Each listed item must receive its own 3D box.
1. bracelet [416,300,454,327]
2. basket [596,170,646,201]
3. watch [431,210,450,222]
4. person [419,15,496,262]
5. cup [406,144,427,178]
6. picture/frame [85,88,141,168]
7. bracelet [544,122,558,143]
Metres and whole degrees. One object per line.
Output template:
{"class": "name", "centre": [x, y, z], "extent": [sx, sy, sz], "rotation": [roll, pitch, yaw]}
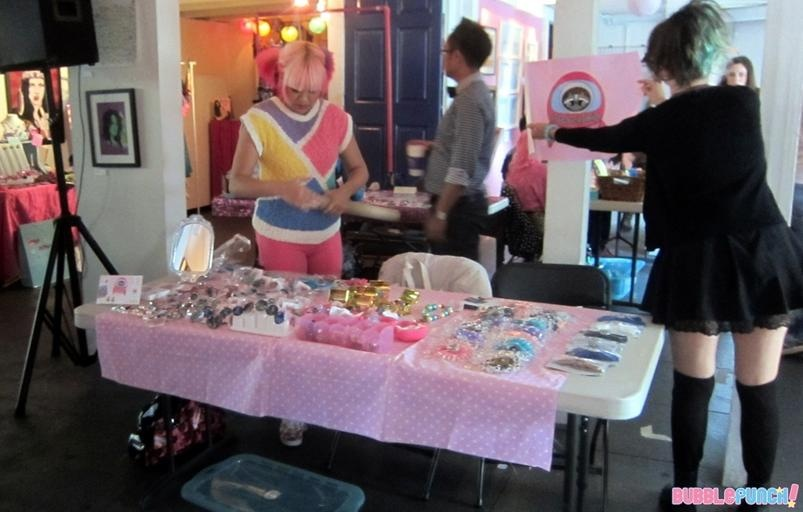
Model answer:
{"class": "bracelet", "centre": [0.154, 0.232, 2.384], "extent": [0.109, 0.082, 0.029], "rotation": [-4, -27, -18]}
{"class": "basket", "centre": [1.753, -0.554, 4.610], "extent": [0.394, 0.171, 0.299], "rotation": [3, 9, 16]}
{"class": "watch", "centre": [0.233, -0.239, 3.351], "extent": [0.062, 0.036, 0.061], "rotation": [7, 21, 15]}
{"class": "person", "centre": [0.355, -0.686, 3.440], "extent": [0.403, 1.456, 0.455], "rotation": [2, 16, 5]}
{"class": "cup", "centre": [0.135, -0.821, 4.876], "extent": [0.237, 0.333, 0.228], "rotation": [1, 11, 0]}
{"class": "picture/frame", "centre": [-2.008, -0.922, 4.009], "extent": [0.561, 0.653, 0.051], "rotation": [4, 10, 15]}
{"class": "bracelet", "centre": [0.694, -0.575, 2.651], "extent": [0.066, 0.083, 0.041], "rotation": [8, 8, 1]}
